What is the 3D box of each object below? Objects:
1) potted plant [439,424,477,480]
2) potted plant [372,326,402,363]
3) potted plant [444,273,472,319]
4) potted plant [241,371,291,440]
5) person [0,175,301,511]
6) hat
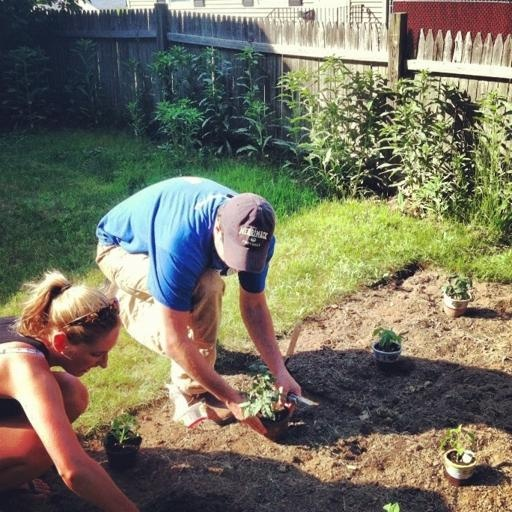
[{"bbox_3d":[1.057,1.018,3.007,0.155,0.258,0.154,-11,-4,-6],"label":"potted plant"},{"bbox_3d":[0.826,0.562,3.779,0.184,0.250,0.210,-3,16,-5],"label":"potted plant"},{"bbox_3d":[1.474,0.294,4.284,0.190,0.291,0.212,3,14,18],"label":"potted plant"},{"bbox_3d":[0.058,0.814,3.152,0.239,0.331,0.206,18,47,24],"label":"potted plant"},{"bbox_3d":[-0.338,0.296,3.253,0.754,1.437,1.218,-12,17,-39],"label":"person"},{"bbox_3d":[-0.062,-0.099,2.769,0.287,0.364,0.234,3,14,15],"label":"hat"}]
